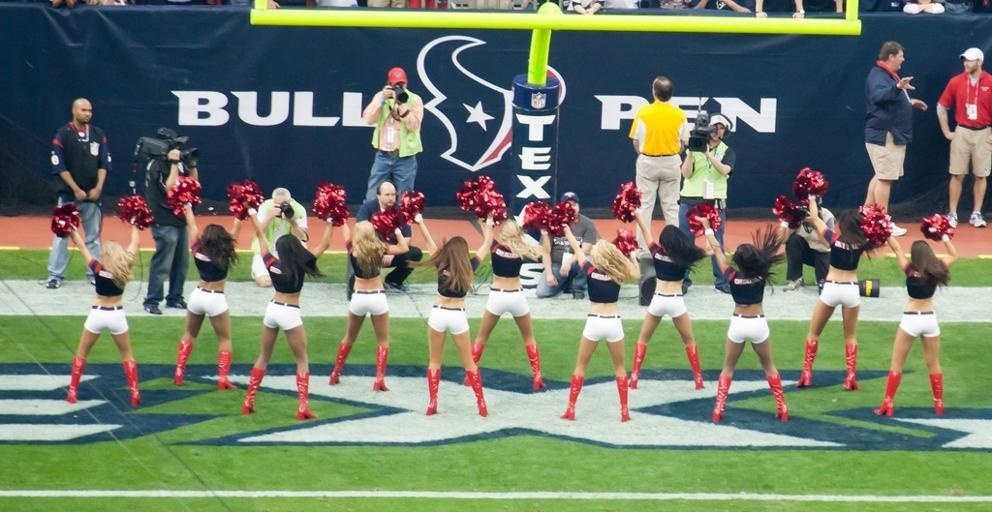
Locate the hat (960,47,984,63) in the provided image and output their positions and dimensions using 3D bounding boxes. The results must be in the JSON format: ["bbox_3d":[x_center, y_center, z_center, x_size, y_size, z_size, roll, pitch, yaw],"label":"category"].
[{"bbox_3d":[10.772,-4.485,34.209,0.515,0.210,0.351,1,3,-35],"label":"hat"}]

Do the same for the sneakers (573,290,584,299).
[{"bbox_3d":[1.728,0.750,31.544,0.225,0.129,0.203,-7,1,-27],"label":"sneakers"}]

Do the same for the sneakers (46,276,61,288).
[{"bbox_3d":[-8.940,0.486,31.082,0.272,0.218,0.611,0,-2,-12],"label":"sneakers"}]

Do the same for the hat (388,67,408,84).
[{"bbox_3d":[-1.982,-3.716,31.839,0.487,0.315,0.649,0,12,-9],"label":"hat"}]

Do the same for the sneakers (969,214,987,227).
[{"bbox_3d":[11.044,-0.833,34.995,0.226,0.191,0.502,-2,2,2],"label":"sneakers"}]

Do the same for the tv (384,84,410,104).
[{"bbox_3d":[-1.957,-3.348,31.305,0.369,0.169,0.382,-36,29,10],"label":"tv"}]

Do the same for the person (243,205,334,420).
[{"bbox_3d":[-3.765,1.208,27.367,1.260,3.254,0.682,0,-2,2],"label":"person"}]

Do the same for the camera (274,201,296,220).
[{"bbox_3d":[-3.819,-0.856,27.998,0.332,0.169,0.318,-4,15,-10],"label":"camera"}]

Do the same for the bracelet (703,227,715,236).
[{"bbox_3d":[3.912,-0.464,27.867,0.160,0.092,0.143,2,5,2],"label":"bracelet"}]

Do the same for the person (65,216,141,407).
[{"bbox_3d":[-7.061,1.017,27.809,1.242,3.174,1.325,0,-1,-13],"label":"person"}]

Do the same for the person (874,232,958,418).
[{"bbox_3d":[7.570,1.196,27.568,1.355,3.237,0.628,0,-2,8],"label":"person"}]

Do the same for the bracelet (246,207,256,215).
[{"bbox_3d":[-4.448,-0.838,27.944,0.164,0.099,0.152,1,1,-30],"label":"bracelet"}]
